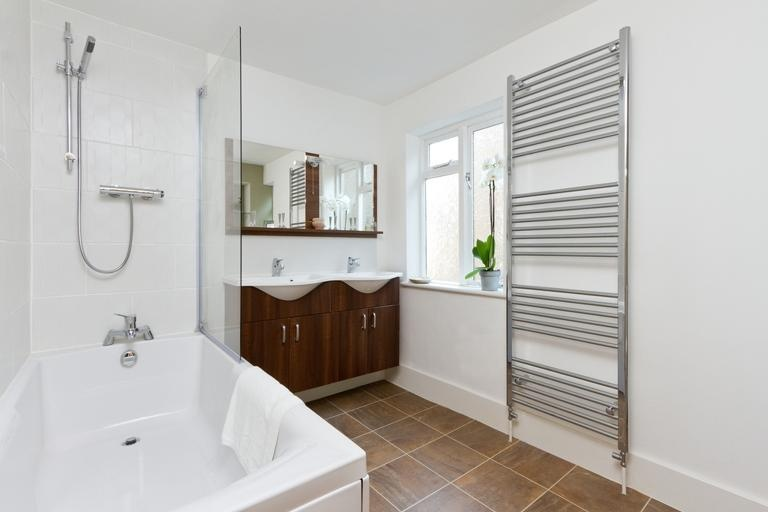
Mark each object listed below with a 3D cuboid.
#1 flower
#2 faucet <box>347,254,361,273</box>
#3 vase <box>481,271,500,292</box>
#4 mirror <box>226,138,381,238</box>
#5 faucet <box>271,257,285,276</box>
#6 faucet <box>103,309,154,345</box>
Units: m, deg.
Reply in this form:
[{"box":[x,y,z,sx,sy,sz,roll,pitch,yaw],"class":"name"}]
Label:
[{"box":[0.865,-0.306,4.016,0.238,1.094,0.480,6,8,13],"class":"flower"},{"box":[-0.287,0.076,4.499,0.132,0.145,0.056,0,9,-27],"class":"faucet"},{"box":[0.847,0.204,3.880,0.156,0.150,0.158,0,-2,1],"class":"vase"},{"box":[-0.683,-0.542,4.262,1.261,0.739,0.020,0,-4,-5],"class":"mirror"},{"box":[-0.908,0.091,4.052,0.097,0.205,0.141,2,-4,-43],"class":"faucet"},{"box":[-1.839,0.517,3.445,0.118,0.215,0.340,4,3,40],"class":"faucet"}]
